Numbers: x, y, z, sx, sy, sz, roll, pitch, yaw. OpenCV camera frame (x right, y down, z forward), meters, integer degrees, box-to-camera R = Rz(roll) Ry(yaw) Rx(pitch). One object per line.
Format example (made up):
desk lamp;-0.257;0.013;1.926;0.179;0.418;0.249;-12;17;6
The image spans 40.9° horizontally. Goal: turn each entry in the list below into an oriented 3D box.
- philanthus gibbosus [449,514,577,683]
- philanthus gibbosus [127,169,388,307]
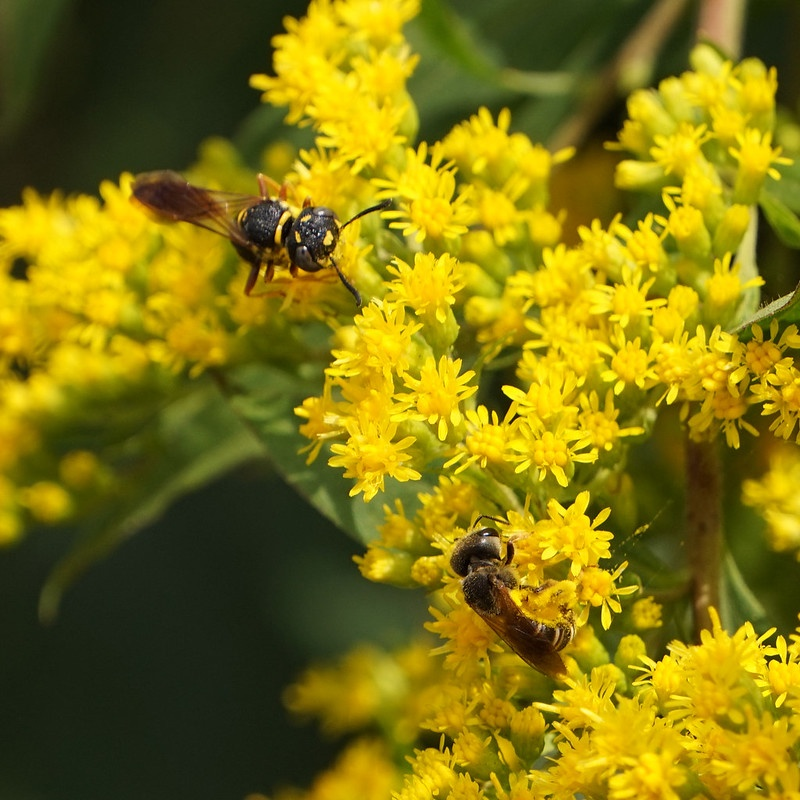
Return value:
philanthus gibbosus;0.137;0.244;1.328;0.066;0.146;0.195;2;46;-43
philanthus gibbosus;-0.190;-0.211;1.552;0.350;0.092;0.219;-3;35;32
